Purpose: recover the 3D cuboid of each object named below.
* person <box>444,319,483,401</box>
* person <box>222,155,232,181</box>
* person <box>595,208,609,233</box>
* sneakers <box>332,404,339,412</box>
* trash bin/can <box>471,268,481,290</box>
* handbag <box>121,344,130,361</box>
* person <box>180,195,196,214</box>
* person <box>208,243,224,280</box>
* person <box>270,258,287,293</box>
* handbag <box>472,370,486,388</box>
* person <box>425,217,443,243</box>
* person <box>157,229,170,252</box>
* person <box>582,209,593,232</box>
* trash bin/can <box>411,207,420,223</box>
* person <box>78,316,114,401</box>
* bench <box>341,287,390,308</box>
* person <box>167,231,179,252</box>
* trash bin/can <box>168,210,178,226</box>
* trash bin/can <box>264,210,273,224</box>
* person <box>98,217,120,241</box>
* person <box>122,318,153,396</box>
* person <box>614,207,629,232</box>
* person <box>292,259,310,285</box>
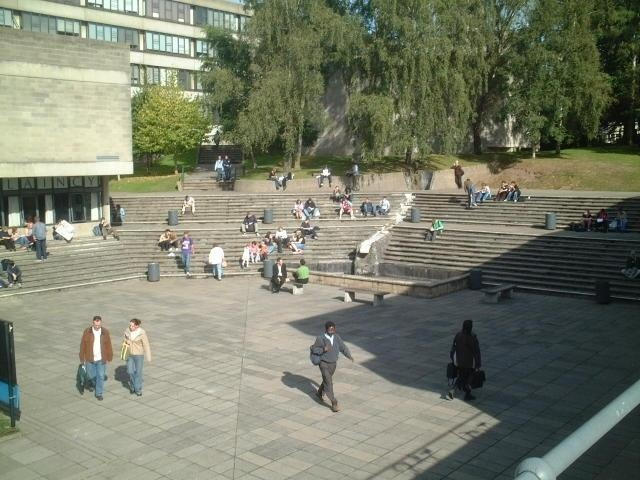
[{"bbox_3d":[3.895,3.191,16.427,0.928,2.275,0.700,1,13,11],"label":"person"},{"bbox_3d":[-7.058,-5.391,46.791,0.663,1.649,1.300,-3,13,-8],"label":"person"},{"bbox_3d":[14.605,-1.007,31.779,0.562,1.034,0.860,4,13,22],"label":"person"},{"bbox_3d":[0.405,4.320,16.073,0.214,0.237,0.295,-1,12,1],"label":"sneakers"},{"bbox_3d":[7.073,1.780,27.993,0.594,0.848,0.431,1,13,10],"label":"trash bin/can"},{"bbox_3d":[-5.345,3.074,16.922,0.189,0.531,0.314,-6,13,-20],"label":"handbag"},{"bbox_3d":[-8.333,-2.245,38.993,0.959,1.238,1.154,0,14,-8],"label":"person"},{"bbox_3d":[-5.207,1.013,31.121,0.743,1.851,1.291,-3,13,-10],"label":"person"},{"bbox_3d":[-1.900,1.570,27.759,0.716,1.635,1.102,-4,13,-11],"label":"person"},{"bbox_3d":[4.201,3.642,16.225,0.401,0.465,0.173,-10,15,-35],"label":"handbag"},{"bbox_3d":[6.271,-0.586,33.698,0.968,1.182,0.809,3,13,16],"label":"person"},{"bbox_3d":[-8.387,0.021,33.246,0.682,1.035,0.512,-4,13,-14],"label":"person"},{"bbox_3d":[13.986,-0.997,32.111,0.492,0.918,0.732,4,14,23],"label":"person"},{"bbox_3d":[5.751,-1.486,37.308,0.804,0.902,0.800,-1,0,0],"label":"trash bin/can"},{"bbox_3d":[-6.276,3.195,16.961,1.081,2.289,0.541,5,14,24],"label":"person"},{"bbox_3d":[1.940,2.302,25.819,2.057,0.760,1.115,8,15,36],"label":"bench"},{"bbox_3d":[-7.982,0.097,33.290,0.606,0.864,1.489,5,47,-17],"label":"person"},{"bbox_3d":[-8.807,-1.342,36.708,0.561,0.869,0.728,-3,13,-10],"label":"trash bin/can"},{"bbox_3d":[-3.113,-1.410,36.876,0.731,0.795,0.725,0,0,-4],"label":"trash bin/can"},{"bbox_3d":[-12.048,-0.618,35.122,1.018,0.979,2.204,-6,13,-20],"label":"person"},{"bbox_3d":[-5.056,3.207,16.991,0.733,2.205,0.539,-2,13,-3],"label":"person"},{"bbox_3d":[15.867,-1.130,32.378,0.698,1.150,2.036,5,14,26],"label":"person"},{"bbox_3d":[-0.852,1.432,27.521,0.582,1.287,0.814,-3,13,-6],"label":"person"}]
